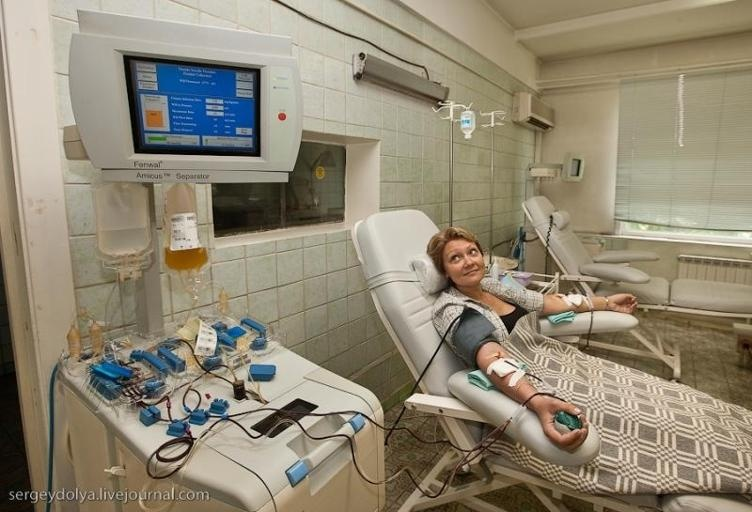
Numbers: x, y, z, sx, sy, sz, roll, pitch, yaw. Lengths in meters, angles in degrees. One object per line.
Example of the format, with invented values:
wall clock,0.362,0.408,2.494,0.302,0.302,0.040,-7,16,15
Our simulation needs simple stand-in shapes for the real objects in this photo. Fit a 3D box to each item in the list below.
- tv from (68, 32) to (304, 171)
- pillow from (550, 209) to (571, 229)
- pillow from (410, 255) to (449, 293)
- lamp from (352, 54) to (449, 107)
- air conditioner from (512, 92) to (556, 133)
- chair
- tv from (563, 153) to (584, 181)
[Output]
tv,-0.760,-0.608,1.842,0.579,0.392,0.097,-4,7,-28
pillow,1.549,-0.309,4.094,0.188,0.161,0.143,-8,-19,-46
pillow,0.260,0.096,2.377,0.060,0.180,0.152,-31,34,34
lamp,0.137,-1.131,3.080,0.083,0.137,0.600,-12,-9,41
air conditioner,1.705,-1.527,5.149,0.178,0.270,0.738,6,7,37
chair,0.782,0.454,2.614,1.719,1.464,1.313,5,18,22
tv,2.100,-0.955,5.116,0.100,0.301,0.338,0,8,40
